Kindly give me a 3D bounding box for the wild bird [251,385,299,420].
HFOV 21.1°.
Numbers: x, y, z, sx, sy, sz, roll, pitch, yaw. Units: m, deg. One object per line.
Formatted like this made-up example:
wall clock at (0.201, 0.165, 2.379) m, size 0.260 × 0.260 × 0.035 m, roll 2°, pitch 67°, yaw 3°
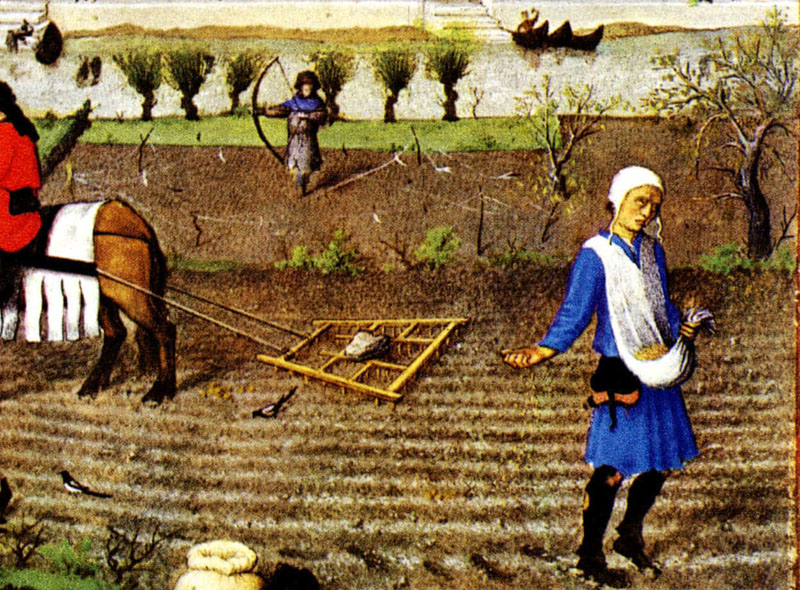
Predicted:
wild bird at (-1.112, 0.973, 19.082) m, size 0.397 × 0.209 × 0.094 m, roll -43°, pitch -5°, yaw -10°
